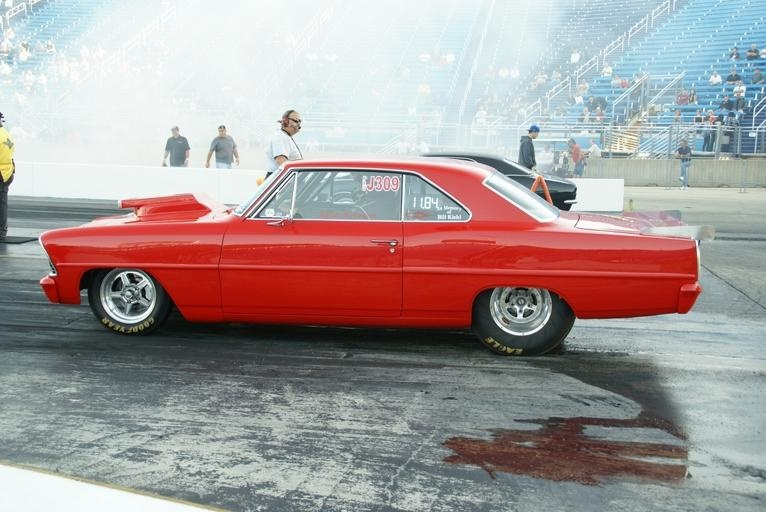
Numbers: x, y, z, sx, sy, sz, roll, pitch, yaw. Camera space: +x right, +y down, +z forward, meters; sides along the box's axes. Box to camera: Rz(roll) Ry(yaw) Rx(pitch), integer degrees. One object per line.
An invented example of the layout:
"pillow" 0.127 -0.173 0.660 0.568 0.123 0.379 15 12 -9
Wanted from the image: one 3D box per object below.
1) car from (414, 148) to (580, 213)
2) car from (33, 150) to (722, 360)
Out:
"car" 2.808 -1.631 11.776 3.788 0.842 1.645 4 16 1
"car" -0.264 -0.080 5.221 6.227 1.237 2.257 2 9 7
